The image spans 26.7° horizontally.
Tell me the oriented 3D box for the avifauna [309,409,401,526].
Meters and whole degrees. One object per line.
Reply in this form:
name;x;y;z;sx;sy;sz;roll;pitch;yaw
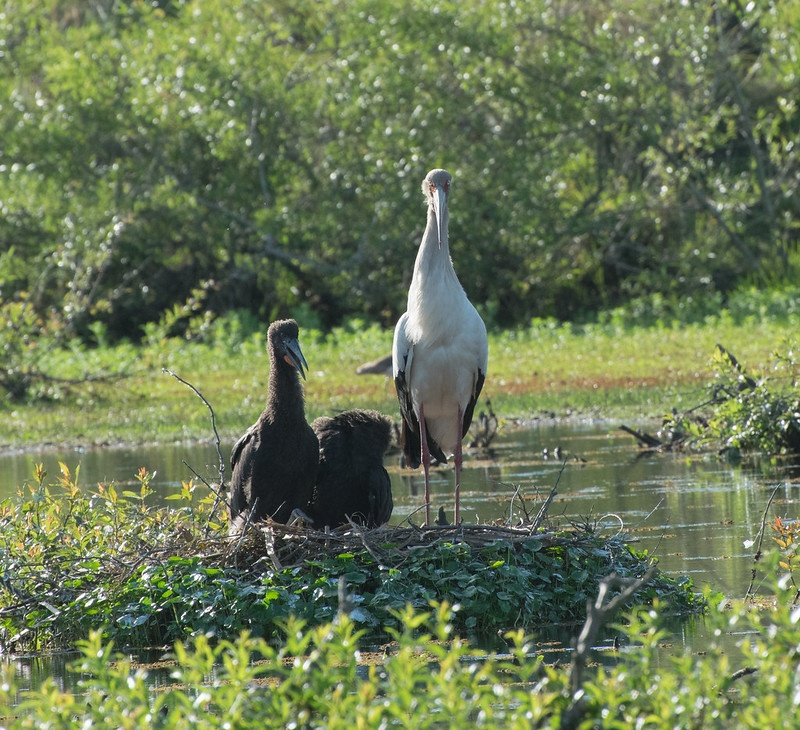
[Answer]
avifauna;-0.422;0.867;14.359;0.661;0.872;0.624;-4;1;8
